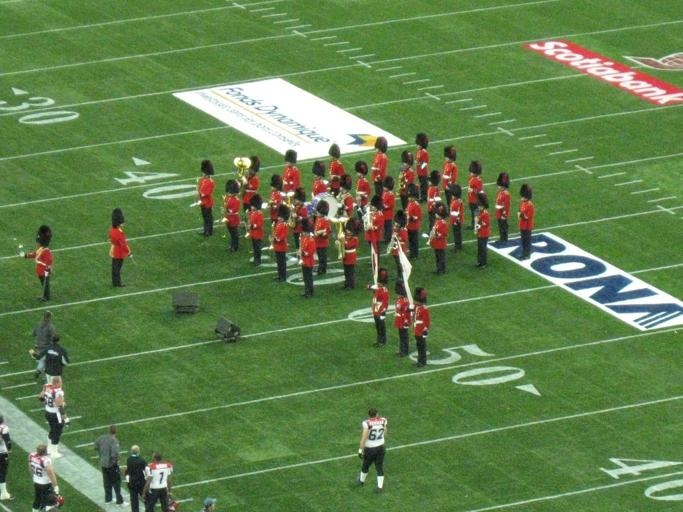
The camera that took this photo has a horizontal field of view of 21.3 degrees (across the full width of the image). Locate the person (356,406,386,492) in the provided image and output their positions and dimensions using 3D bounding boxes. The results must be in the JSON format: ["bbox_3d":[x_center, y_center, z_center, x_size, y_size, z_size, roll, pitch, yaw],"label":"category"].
[{"bbox_3d":[0.495,3.650,35.003,0.534,1.602,0.764,-1,19,-1],"label":"person"}]

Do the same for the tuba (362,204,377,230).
[{"bbox_3d":[0.495,-0.885,42.188,0.288,0.683,0.331,0,2,12],"label":"tuba"}]

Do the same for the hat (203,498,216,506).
[{"bbox_3d":[-2.484,4.468,33.218,0.169,0.119,0.236,14,25,33],"label":"hat"}]

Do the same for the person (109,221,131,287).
[{"bbox_3d":[-5.167,-0.021,41.301,0.451,1.353,0.805,-3,19,-6],"label":"person"}]

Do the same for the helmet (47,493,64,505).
[{"bbox_3d":[-5.374,4.488,33.445,0.237,0.311,0.260,-2,18,-5],"label":"helmet"}]

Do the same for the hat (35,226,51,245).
[{"bbox_3d":[-6.801,-0.457,40.620,0.298,0.475,0.420,-2,18,-5],"label":"hat"}]

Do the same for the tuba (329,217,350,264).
[{"bbox_3d":[-0.123,-0.366,41.661,0.406,1.030,0.893,-2,18,-3],"label":"tuba"}]

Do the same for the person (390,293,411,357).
[{"bbox_3d":[1.226,1.410,38.732,0.329,1.510,0.307,0,20,1],"label":"person"}]

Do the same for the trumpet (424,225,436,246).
[{"bbox_3d":[2.007,-0.473,42.998,0.192,0.153,0.575,4,18,12],"label":"trumpet"}]

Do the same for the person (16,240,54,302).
[{"bbox_3d":[-6.946,0.302,40.870,0.583,1.200,1.139,-4,18,-9],"label":"person"}]
